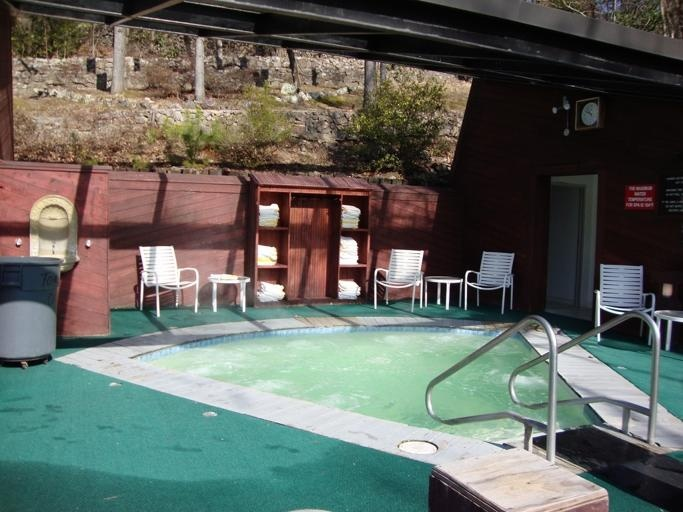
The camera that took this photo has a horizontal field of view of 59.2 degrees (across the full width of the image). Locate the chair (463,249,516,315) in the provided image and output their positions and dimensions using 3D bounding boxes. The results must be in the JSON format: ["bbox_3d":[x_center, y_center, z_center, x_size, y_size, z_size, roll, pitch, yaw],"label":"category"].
[{"bbox_3d":[2.959,0.477,11.829,0.929,1.081,1.873,5,8,13],"label":"chair"}]

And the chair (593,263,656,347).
[{"bbox_3d":[4.362,0.729,9.287,1.097,0.935,1.016,-5,9,-31],"label":"chair"}]

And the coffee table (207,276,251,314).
[{"bbox_3d":[-1.925,0.664,10.462,0.865,0.459,0.738,0,0,-11],"label":"coffee table"}]

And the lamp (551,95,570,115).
[{"bbox_3d":[3.998,-2.700,10.810,0.229,0.310,0.553,3,8,2],"label":"lamp"}]

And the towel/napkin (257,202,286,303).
[{"bbox_3d":[-1.256,-0.061,11.064,0.486,1.756,0.581,5,10,14],"label":"towel/napkin"}]

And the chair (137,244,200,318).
[{"bbox_3d":[-2.896,0.419,10.182,1.010,1.129,1.183,0,9,-13],"label":"chair"}]

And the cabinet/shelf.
[{"bbox_3d":[-0.627,-0.227,11.316,3.465,2.663,1.079,1,-2,-24],"label":"cabinet/shelf"}]

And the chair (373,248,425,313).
[{"bbox_3d":[1.132,0.457,11.454,1.065,0.911,0.856,0,11,2],"label":"chair"}]
